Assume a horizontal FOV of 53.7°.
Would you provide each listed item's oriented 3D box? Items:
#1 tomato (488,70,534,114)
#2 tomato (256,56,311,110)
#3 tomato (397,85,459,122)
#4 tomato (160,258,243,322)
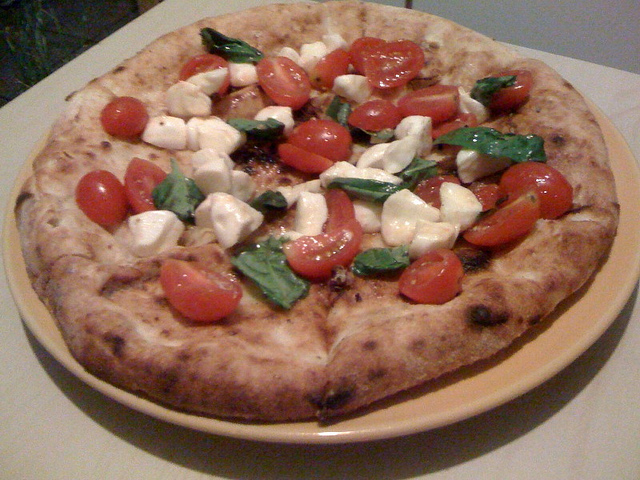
[{"bbox_3d":[1.101,-0.836,3.639,0.276,0.141,0.235,12,65,30],"label":"tomato"},{"bbox_3d":[-0.211,-0.948,3.729,0.372,0.090,0.354,-15,59,-30],"label":"tomato"},{"bbox_3d":[0.630,-0.790,3.589,0.294,0.090,0.316,-38,35,-27],"label":"tomato"},{"bbox_3d":[-0.552,0.203,2.824,0.354,0.305,0.113,32,115,22],"label":"tomato"}]
